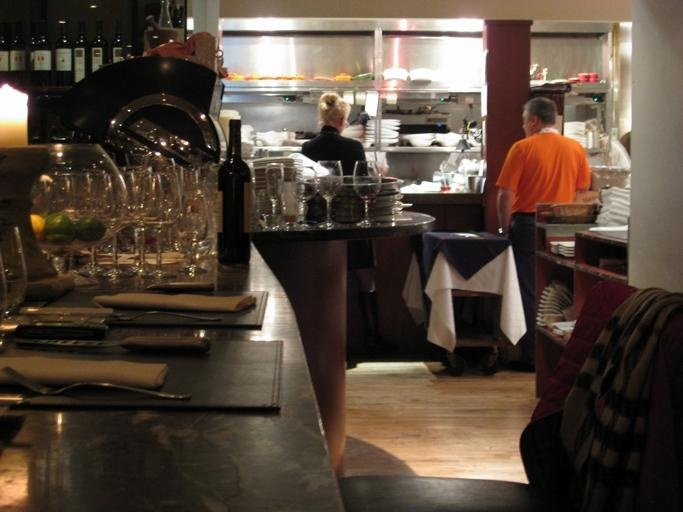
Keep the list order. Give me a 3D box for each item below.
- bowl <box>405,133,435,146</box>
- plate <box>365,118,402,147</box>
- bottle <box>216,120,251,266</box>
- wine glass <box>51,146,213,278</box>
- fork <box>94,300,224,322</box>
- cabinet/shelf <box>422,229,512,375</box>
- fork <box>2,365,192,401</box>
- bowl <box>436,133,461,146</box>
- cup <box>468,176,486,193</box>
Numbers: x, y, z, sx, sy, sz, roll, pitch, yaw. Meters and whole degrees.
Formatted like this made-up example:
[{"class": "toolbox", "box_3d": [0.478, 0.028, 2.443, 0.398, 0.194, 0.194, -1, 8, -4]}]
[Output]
[{"class": "bowl", "box_3d": [0.735, -1.087, 5.684, 0.292, 0.141, 0.157, 3, 8, -11]}, {"class": "plate", "box_3d": [0.380, -1.140, 5.703, 0.272, 0.188, 0.275, -3, 9, -17]}, {"class": "bottle", "box_3d": [-0.288, -0.180, 1.647, 0.090, 0.379, 0.266, 3, 8, -12]}, {"class": "wine glass", "box_3d": [-0.464, -0.062, 1.388, 0.281, 0.270, 0.301, 1, -4, -12]}, {"class": "fork", "box_3d": [-0.285, 0.099, 1.013, 0.181, 0.013, 0.095, 4, 9, -8]}, {"class": "cabinet/shelf", "box_3d": [0.879, 0.295, 4.086, 0.655, 0.906, 0.912, 0, 9, -1]}, {"class": "fork", "box_3d": [-0.278, 0.150, 0.692, 0.222, 0.020, 0.032, 5, 8, 1]}, {"class": "bowl", "box_3d": [0.995, -1.079, 5.673, 0.231, 0.130, 0.116, 5, 8, 5]}, {"class": "cup", "box_3d": [1.102, -0.582, 4.944, 0.146, 0.126, 0.122, 2, -1, -23]}]
